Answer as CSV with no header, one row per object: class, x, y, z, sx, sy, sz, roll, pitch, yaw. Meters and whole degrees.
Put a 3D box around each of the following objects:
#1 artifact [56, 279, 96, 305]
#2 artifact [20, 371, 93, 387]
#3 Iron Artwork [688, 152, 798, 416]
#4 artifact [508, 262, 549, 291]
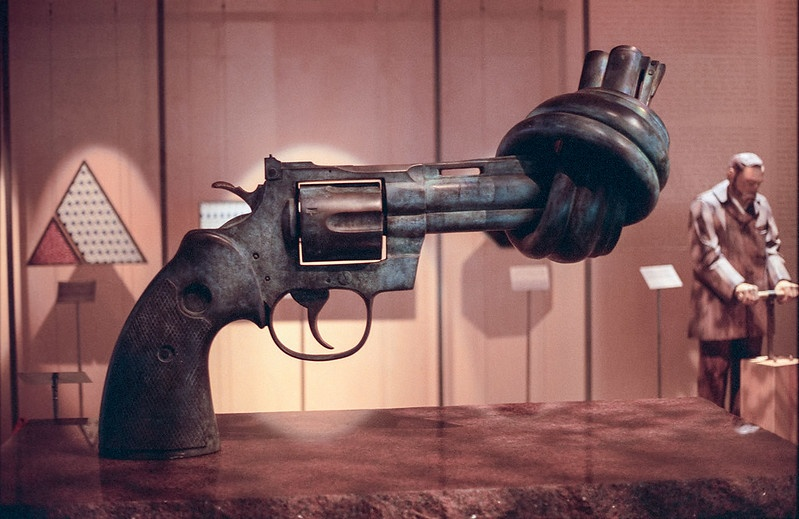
artifact,-1.314,0.129,5.995,0.187,0.107,0.093,1,8,-4
artifact,-1.387,0.475,5.886,0.291,0.062,0.175,0,2,-5
Iron Artwork,1.394,0.097,5.983,0.433,1.059,0.132,0,2,9
artifact,0.541,0.074,6.117,0.192,0.113,0.099,-1,-1,2
